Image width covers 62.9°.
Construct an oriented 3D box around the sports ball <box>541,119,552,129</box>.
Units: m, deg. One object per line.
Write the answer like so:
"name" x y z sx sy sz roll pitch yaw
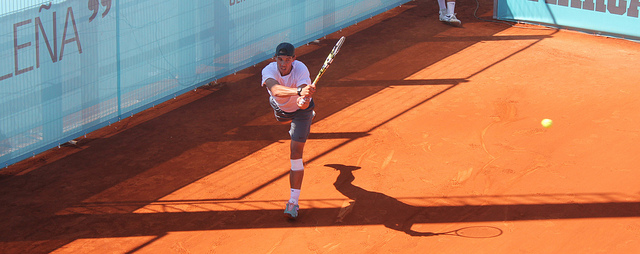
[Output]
"sports ball" 7.894 -0.149 18.169 0.404 0.226 0.311 -1 30 3
